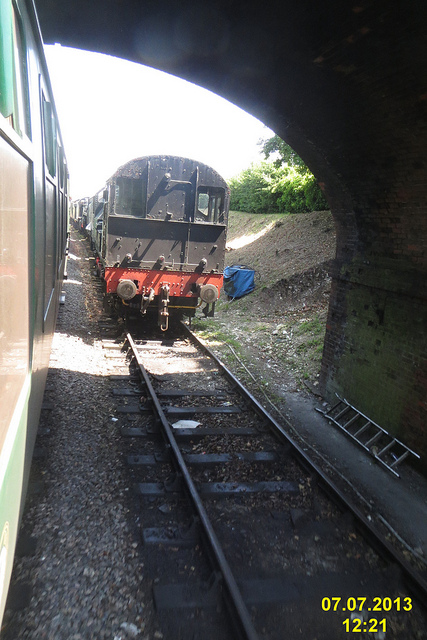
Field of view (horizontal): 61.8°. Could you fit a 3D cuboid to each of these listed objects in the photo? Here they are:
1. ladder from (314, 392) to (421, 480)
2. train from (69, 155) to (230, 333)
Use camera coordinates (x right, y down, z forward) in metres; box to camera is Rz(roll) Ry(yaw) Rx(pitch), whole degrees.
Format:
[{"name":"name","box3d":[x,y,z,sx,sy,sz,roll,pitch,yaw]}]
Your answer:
[{"name":"ladder","box3d":[2.271,1.653,5.271,0.360,0.153,1.119,-34,24,-8]},{"name":"train","box3d":[-1.412,-1.954,9.849,3.169,4.563,2.657,2,12,-18]}]
